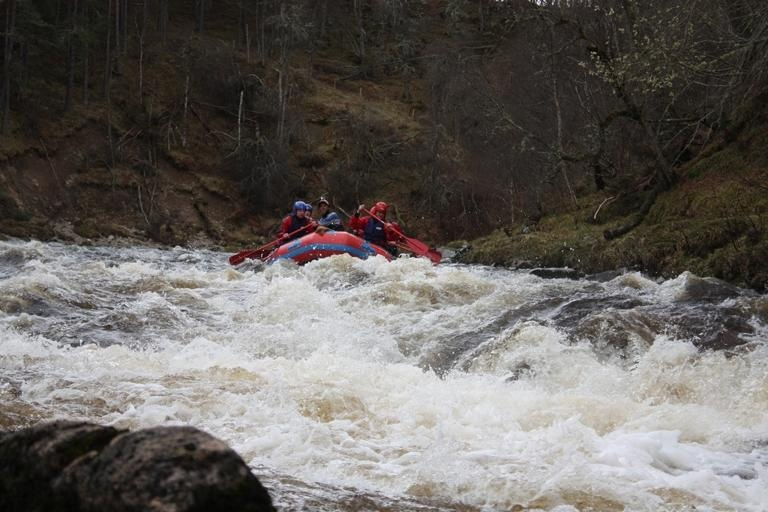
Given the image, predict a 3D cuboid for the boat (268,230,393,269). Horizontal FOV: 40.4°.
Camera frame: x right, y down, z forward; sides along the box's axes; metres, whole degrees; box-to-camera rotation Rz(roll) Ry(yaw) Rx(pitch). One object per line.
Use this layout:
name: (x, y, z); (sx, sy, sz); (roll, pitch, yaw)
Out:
boat: (-1.815, -0.257, 31.491); (2.453, 0.670, 1.533); (-5, -2, 6)

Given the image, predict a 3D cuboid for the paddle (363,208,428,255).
paddle: (0.399, -0.860, 37.460); (2.942, 0.813, 0.507); (34, 19, 1)

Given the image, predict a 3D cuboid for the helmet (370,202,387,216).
helmet: (-0.130, -1.558, 34.662); (0.423, 0.549, 0.584); (25, 10, -10)

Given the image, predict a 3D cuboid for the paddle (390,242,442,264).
paddle: (1.107, -0.132, 34.340); (1.513, 0.723, 0.330); (10, -9, 5)
